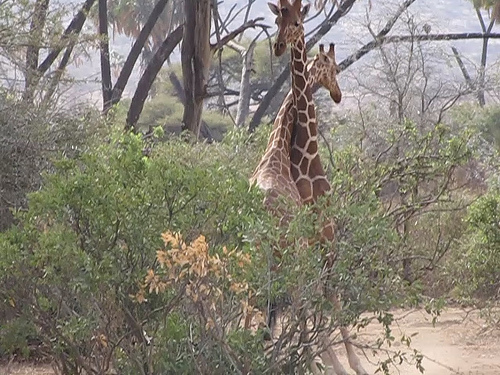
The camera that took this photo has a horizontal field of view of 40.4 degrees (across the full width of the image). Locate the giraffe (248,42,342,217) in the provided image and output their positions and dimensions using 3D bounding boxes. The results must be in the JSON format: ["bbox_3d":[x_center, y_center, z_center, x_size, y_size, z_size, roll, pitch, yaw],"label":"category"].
[{"bbox_3d":[0.667,-0.971,10.161,1.173,2.267,2.270,4,-1,9],"label":"giraffe"}]
